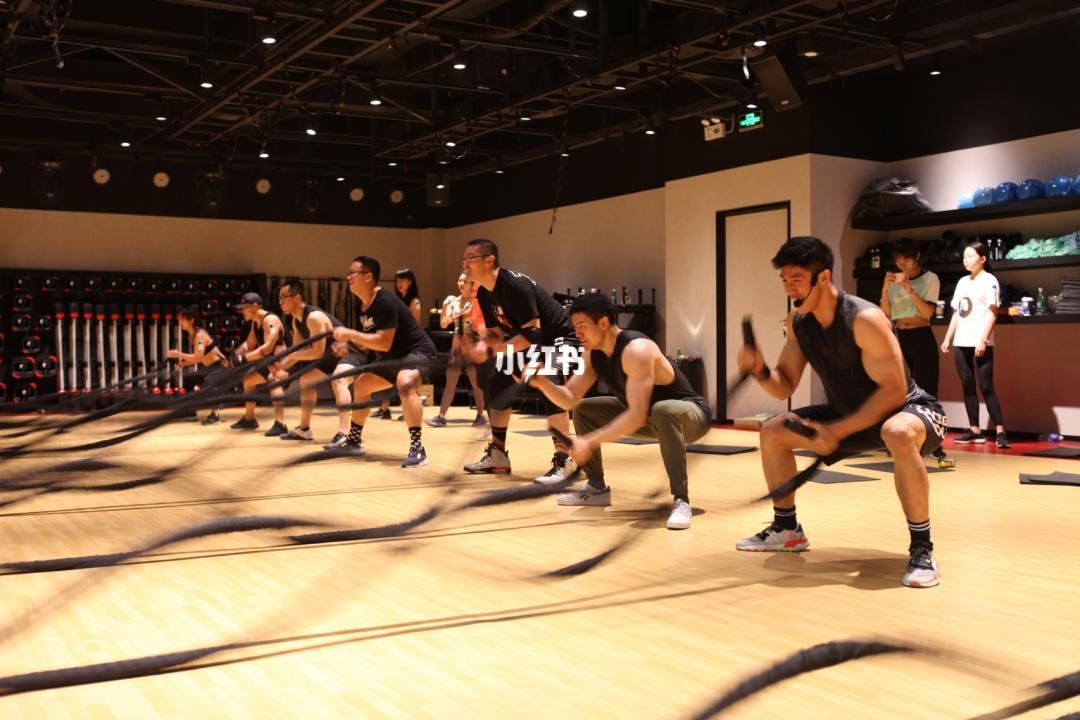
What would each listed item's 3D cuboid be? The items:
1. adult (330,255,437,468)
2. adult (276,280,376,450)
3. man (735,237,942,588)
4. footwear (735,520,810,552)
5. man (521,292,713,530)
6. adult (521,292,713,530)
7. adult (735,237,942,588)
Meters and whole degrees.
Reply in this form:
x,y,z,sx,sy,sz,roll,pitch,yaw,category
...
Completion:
x,y,z,sx,sy,sz,roll,pitch,yaw,category
-1.384,-0.015,6.432,1.022,1.843,1.021,-1,-1,34,adult
-2.291,0.025,7.334,1.017,1.685,1.009,-4,-4,35,adult
1.530,0.235,3.507,1.046,1.546,1.147,6,-5,-28,man
1.250,0.968,3.856,0.426,0.195,0.151,2,-6,6,footwear
0.524,0.304,4.397,1.157,1.319,1.127,0,0,-36,man
0.509,0.333,4.454,1.370,1.511,1.336,1,-4,-23,adult
1.541,0.245,3.525,1.029,1.552,1.141,6,-5,-30,adult
